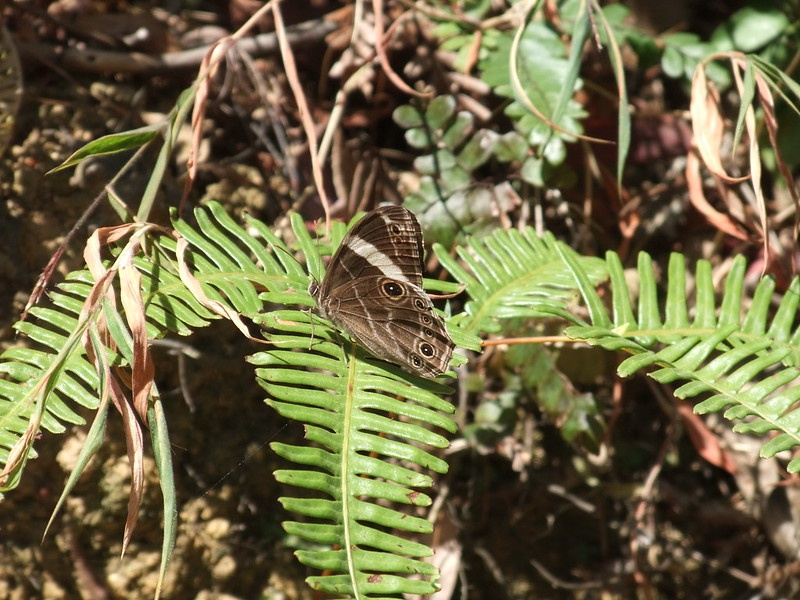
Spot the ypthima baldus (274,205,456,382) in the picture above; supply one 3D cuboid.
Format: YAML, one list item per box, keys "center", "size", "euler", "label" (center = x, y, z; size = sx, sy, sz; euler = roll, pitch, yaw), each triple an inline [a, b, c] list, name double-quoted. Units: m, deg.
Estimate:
- center: [-0.017, -0.061, 3.279]
  size: [0.569, 0.457, 0.369]
  euler: [21, 47, 26]
  label: "ypthima baldus"
